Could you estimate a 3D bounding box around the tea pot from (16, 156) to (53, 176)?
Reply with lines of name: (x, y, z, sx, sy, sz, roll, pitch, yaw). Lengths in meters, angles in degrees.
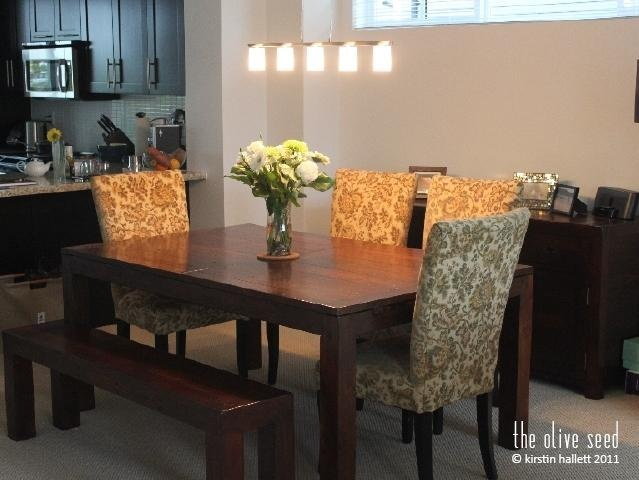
tea pot: (-2.398, -0.616, 4.380, 0.290, 0.154, 0.172, 1, 3, -8)

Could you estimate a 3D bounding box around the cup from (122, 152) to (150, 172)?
cup: (-1.520, -0.630, 4.345, 0.241, 0.196, 0.255, 1, 4, 0)

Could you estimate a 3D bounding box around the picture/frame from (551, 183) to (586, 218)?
picture/frame: (1.457, -0.239, 3.081, 0.181, 0.181, 0.156, -9, 10, -39)

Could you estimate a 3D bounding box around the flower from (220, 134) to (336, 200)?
flower: (-0.151, -0.317, 2.434, 0.482, 0.326, 0.492, 3, 15, -29)

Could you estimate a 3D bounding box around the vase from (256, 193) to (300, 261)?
vase: (-0.191, -0.056, 2.447, 0.189, 0.300, 0.206, 4, -9, -31)

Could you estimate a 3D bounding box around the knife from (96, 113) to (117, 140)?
knife: (-2.164, -1.153, 5.313, 0.146, 0.245, 0.901, -7, 13, -21)

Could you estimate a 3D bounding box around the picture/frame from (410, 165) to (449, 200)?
picture/frame: (0.695, -0.359, 3.323, 0.301, 0.326, 0.024, -1, -26, 3)

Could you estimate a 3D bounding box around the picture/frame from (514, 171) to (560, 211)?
picture/frame: (1.299, -0.285, 3.117, 0.268, 0.241, 0.020, 9, -1, 38)

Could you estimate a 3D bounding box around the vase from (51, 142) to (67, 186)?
vase: (-1.955, -0.593, 3.919, 0.109, 0.288, 0.339, -8, 13, -26)
